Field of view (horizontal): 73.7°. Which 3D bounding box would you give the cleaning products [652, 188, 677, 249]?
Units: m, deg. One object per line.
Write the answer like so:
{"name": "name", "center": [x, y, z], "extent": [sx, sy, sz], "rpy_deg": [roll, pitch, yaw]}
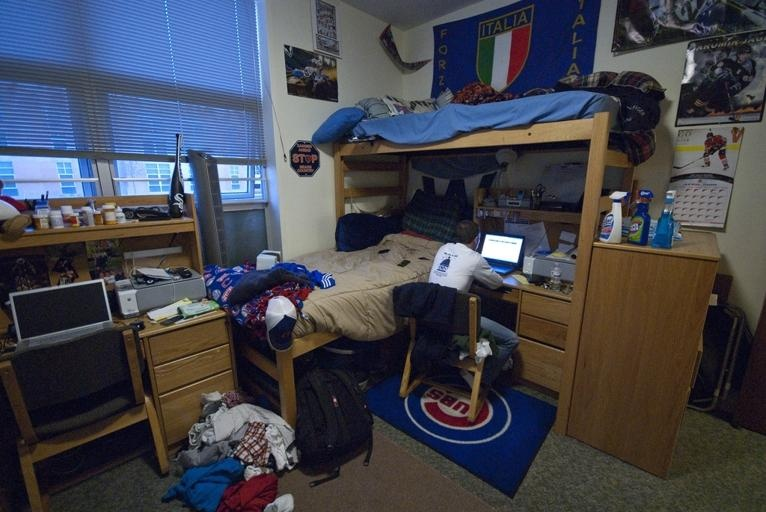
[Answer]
{"name": "cleaning products", "center": [2.008, -0.270, 3.673], "extent": [0.133, 0.400, 0.271], "rpy_deg": [3, 14, 29]}

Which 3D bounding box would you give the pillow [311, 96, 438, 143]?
{"name": "pillow", "center": [-0.181, -1.401, 5.065], "extent": [0.809, 0.194, 0.664], "rpy_deg": [-17, 29, -6]}

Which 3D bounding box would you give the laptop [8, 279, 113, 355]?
{"name": "laptop", "center": [-2.267, 0.372, 3.611], "extent": [0.648, 0.451, 0.474], "rpy_deg": [-9, 9, -43]}

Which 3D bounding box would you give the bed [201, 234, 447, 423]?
{"name": "bed", "center": [-0.260, 0.505, 4.406], "extent": [1.598, 0.589, 1.180], "rpy_deg": [-12, 19, -43]}

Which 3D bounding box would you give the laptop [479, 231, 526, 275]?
{"name": "laptop", "center": [1.179, -0.040, 4.919], "extent": [0.426, 0.375, 0.299], "rpy_deg": [14, 12, 37]}

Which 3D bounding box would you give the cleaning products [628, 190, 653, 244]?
{"name": "cleaning products", "center": [1.884, -0.292, 3.773], "extent": [0.139, 0.383, 0.278], "rpy_deg": [3, 14, 28]}

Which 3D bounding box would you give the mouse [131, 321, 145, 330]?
{"name": "mouse", "center": [-1.773, 0.511, 3.724], "extent": [0.082, 0.043, 0.139], "rpy_deg": [-12, 14, -33]}

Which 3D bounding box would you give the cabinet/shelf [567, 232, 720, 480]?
{"name": "cabinet/shelf", "center": [1.835, 0.750, 3.725], "extent": [0.893, 1.666, 0.290], "rpy_deg": [4, 15, 32]}
